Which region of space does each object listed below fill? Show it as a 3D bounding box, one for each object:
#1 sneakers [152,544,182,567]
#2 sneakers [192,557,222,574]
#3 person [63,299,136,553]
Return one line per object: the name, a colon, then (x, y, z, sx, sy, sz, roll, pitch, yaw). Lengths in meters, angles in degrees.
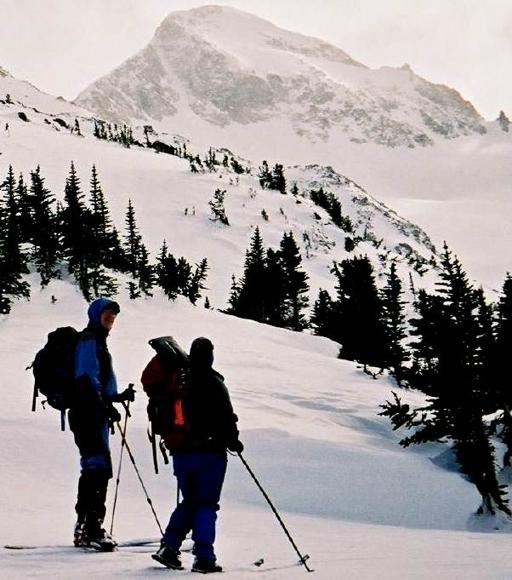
sneakers: (-1.468, 4.434, 18.275, 0.613, 0.243, 0.227, 31, -22, -17)
sneakers: (-0.839, 4.575, 18.214, 0.590, 0.218, 0.183, 2, -9, -3)
person: (-2.733, 2.279, 18.928, 0.991, 3.423, 0.754, 4, 1, -8)
